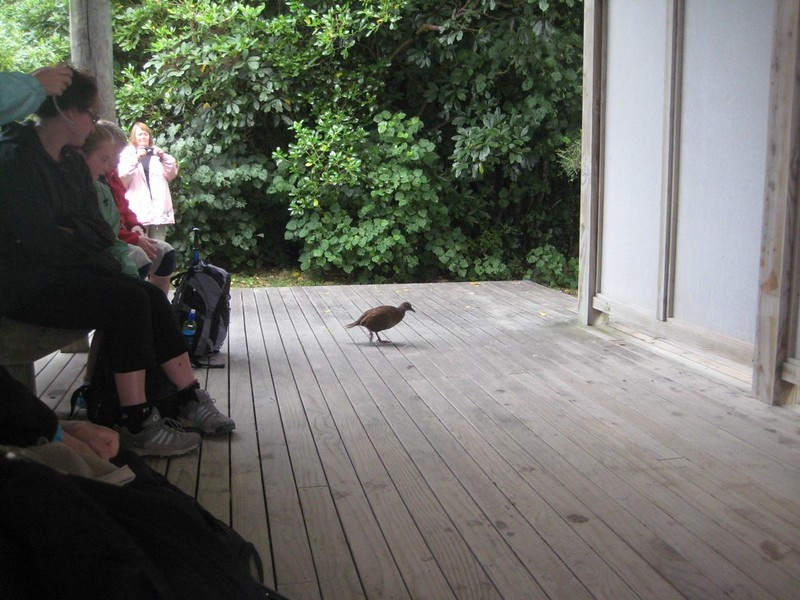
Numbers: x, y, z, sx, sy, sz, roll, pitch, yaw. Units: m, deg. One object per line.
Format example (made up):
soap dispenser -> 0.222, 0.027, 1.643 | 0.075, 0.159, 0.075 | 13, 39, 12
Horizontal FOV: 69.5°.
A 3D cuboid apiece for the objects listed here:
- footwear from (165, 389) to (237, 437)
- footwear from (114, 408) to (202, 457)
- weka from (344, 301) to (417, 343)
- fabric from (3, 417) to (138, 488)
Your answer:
footwear -> -1.079, 0.574, 3.181 | 0.407, 0.216, 0.168 | 14, 16, 19
footwear -> -1.144, 0.644, 2.885 | 0.459, 0.283, 0.183 | 3, 5, -17
weka -> -0.151, 0.190, 5.078 | 0.633, 0.438, 0.281 | 9, 10, -13
fabric -> -0.909, 0.425, 1.614 | 0.234, 0.104, 0.286 | 18, -14, 31
